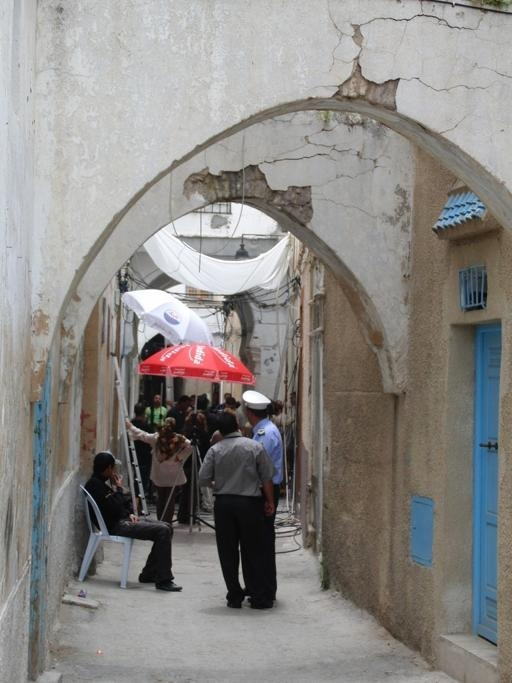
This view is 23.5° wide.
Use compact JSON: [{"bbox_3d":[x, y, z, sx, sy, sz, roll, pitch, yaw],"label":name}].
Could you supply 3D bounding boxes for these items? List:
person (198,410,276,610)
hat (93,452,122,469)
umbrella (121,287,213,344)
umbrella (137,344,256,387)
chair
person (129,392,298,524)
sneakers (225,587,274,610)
[{"bbox_3d":[-0.138,1.241,9.010,0.559,1.425,0.343,1,0,-1],"label":"person"},{"bbox_3d":[-1.125,0.904,9.399,0.195,0.135,0.129,11,-4,-40],"label":"hat"},{"bbox_3d":[-0.906,-0.280,12.100,0.655,0.216,0.620,50,-5,-38],"label":"umbrella"},{"bbox_3d":[-0.534,0.189,10.977,1.019,0.359,0.809,3,-1,-7],"label":"umbrella"},{"bbox_3d":[-1.206,1.531,9.647,0.502,1.139,0.573,1,-2,-5],"label":"chair"},{"bbox_3d":[-0.143,0.987,9.316,0.829,1.105,0.819,-7,6,-6],"label":"person"},{"bbox_3d":[-0.043,1.887,8.965,0.346,0.131,0.239,2,-1,-2],"label":"sneakers"}]
